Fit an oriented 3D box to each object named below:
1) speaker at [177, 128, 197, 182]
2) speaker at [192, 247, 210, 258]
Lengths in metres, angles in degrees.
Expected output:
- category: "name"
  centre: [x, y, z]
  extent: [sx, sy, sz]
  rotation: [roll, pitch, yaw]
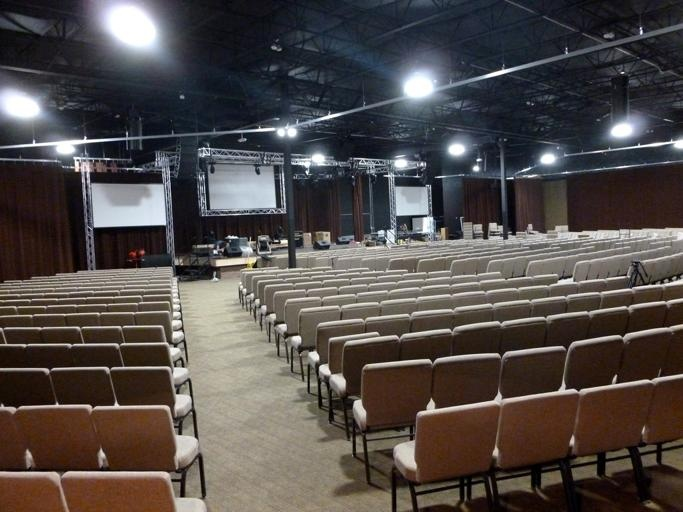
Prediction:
- category: "speaker"
  centre: [-5.678, -3.437, 19.421]
  extent: [0.637, 2.168, 1.467]
  rotation: [-1, -20, -10]
- category: "speaker"
  centre: [-6.085, -0.183, 22.266]
  extent: [0.806, 0.616, 0.862]
  rotation: [1, 0, 2]
